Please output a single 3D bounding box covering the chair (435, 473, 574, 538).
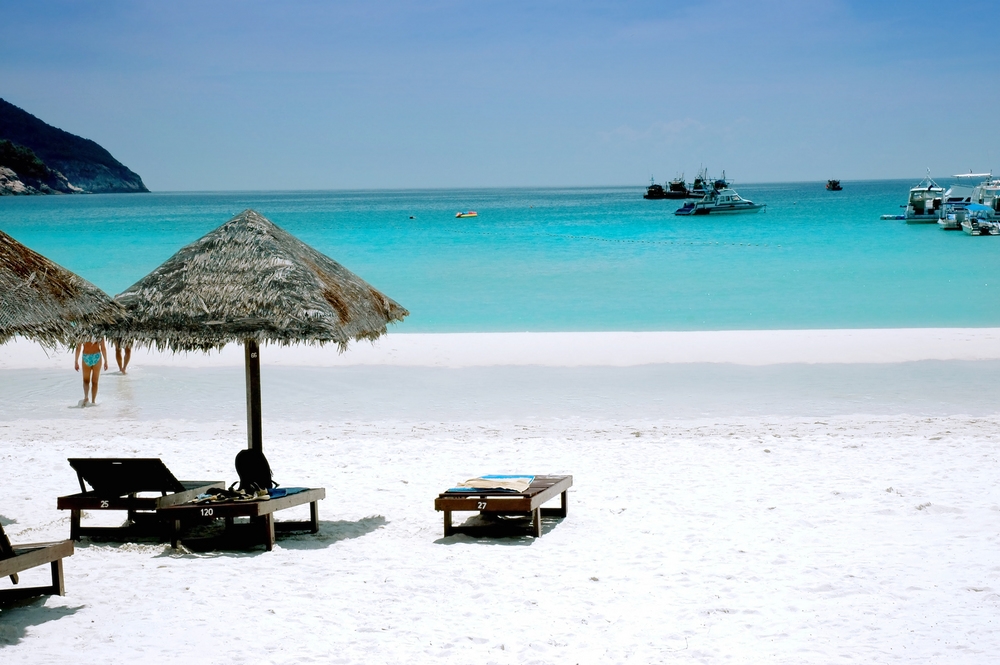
[{"bbox_3d":[0.070,1.739,12.142,1.215,0.537,1.088,0,12,10],"label":"chair"}]

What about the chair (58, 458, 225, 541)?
[{"bbox_3d":[-3.527,1.619,11.894,1.141,0.642,1.334,-4,-2,20],"label":"chair"}]

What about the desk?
[{"bbox_3d":[-2.619,1.849,11.595,0.826,0.256,1.154,0,-1,9],"label":"desk"}]

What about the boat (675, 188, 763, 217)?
[{"bbox_3d":[14.986,-9.121,83.321,3.402,1.638,4.901,9,15,43],"label":"boat"}]
